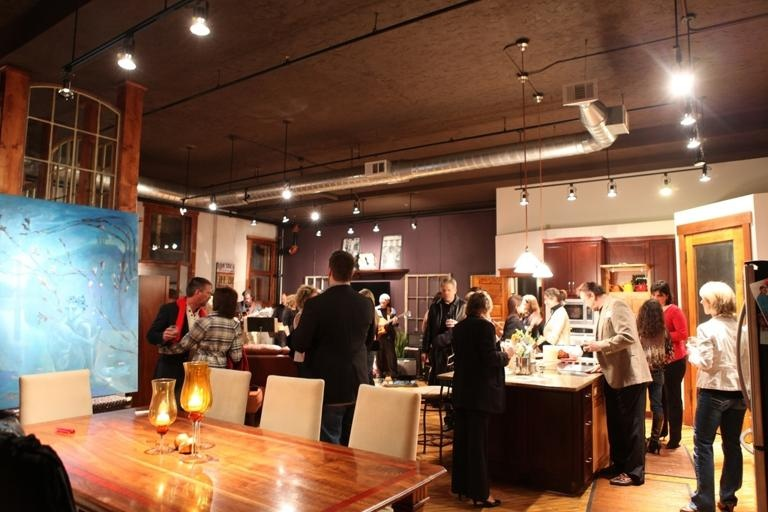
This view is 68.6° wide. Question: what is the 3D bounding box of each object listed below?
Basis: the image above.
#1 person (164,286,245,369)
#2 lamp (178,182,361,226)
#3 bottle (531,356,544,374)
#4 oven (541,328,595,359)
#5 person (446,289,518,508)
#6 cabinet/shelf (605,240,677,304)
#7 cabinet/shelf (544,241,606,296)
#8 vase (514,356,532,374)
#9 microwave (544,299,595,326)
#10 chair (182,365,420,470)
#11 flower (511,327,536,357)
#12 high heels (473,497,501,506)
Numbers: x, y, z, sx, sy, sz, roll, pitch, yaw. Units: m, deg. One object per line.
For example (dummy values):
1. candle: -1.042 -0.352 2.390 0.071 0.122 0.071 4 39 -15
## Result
1. person: -1.886 0.786 6.047 0.739 0.879 0.370 -1 9 -16
2. lamp: -2.841 -1.283 13.690 5.121 0.701 0.663 -5 -3 36
3. bottle: 1.915 1.355 7.028 0.187 0.244 0.191 0 -6 0
4. oven: 2.454 1.227 7.658 0.599 0.278 0.810 -2 -5 34
5. person: 0.999 1.552 6.112 0.651 2.271 0.496 5 10 26
6. cabinet/shelf: 4.483 0.267 9.729 1.015 1.022 0.367 -3 -10 27
7. cabinet/shelf: 3.410 0.222 9.932 0.911 1.035 0.404 -2 -8 31
8. vase: 1.698 1.338 6.879 0.192 0.205 0.206 2 -12 -6
9. microwave: 3.356 0.997 9.936 0.818 0.543 0.530 -3 -7 42
10. chair: -0.750 1.425 4.919 1.447 0.820 0.479 -4 -13 27
11. flower: 1.751 1.074 7.145 0.364 0.393 0.356 5 -6 -30
12. high heels: 1.121 2.666 6.085 0.229 0.093 0.131 -8 -12 3
